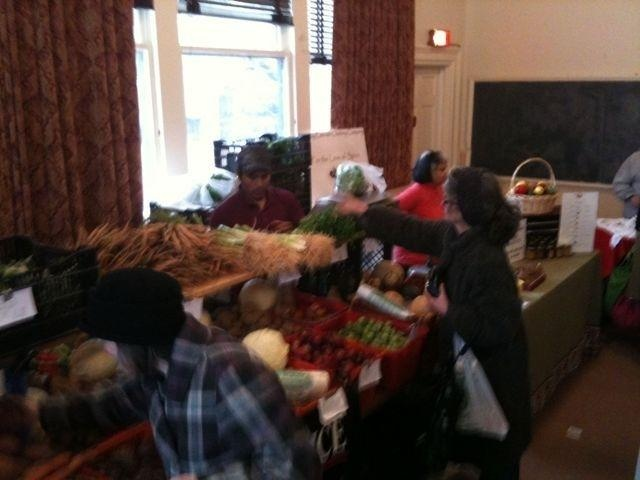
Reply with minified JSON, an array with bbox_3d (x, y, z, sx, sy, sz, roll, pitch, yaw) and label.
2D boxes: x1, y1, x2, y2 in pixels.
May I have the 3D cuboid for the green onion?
[{"bbox_3d":[-0.145,0.043,1.845,0.260,0.110,0.249,7,-1,-43],"label":"green onion"}]

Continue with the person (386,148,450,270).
[{"bbox_3d":[0.646,-0.143,3.268,0.348,0.824,0.393,0,21,-20],"label":"person"}]

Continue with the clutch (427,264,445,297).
[{"bbox_3d":[0.493,0.181,2.164,0.048,0.128,0.078,13,-3,-31],"label":"clutch"}]

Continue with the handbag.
[{"bbox_3d":[0.681,0.627,2.147,0.275,0.512,0.291,2,25,-38],"label":"handbag"}]

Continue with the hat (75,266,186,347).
[{"bbox_3d":[-0.472,0.165,1.231,0.191,0.121,0.217,17,23,31],"label":"hat"}]
